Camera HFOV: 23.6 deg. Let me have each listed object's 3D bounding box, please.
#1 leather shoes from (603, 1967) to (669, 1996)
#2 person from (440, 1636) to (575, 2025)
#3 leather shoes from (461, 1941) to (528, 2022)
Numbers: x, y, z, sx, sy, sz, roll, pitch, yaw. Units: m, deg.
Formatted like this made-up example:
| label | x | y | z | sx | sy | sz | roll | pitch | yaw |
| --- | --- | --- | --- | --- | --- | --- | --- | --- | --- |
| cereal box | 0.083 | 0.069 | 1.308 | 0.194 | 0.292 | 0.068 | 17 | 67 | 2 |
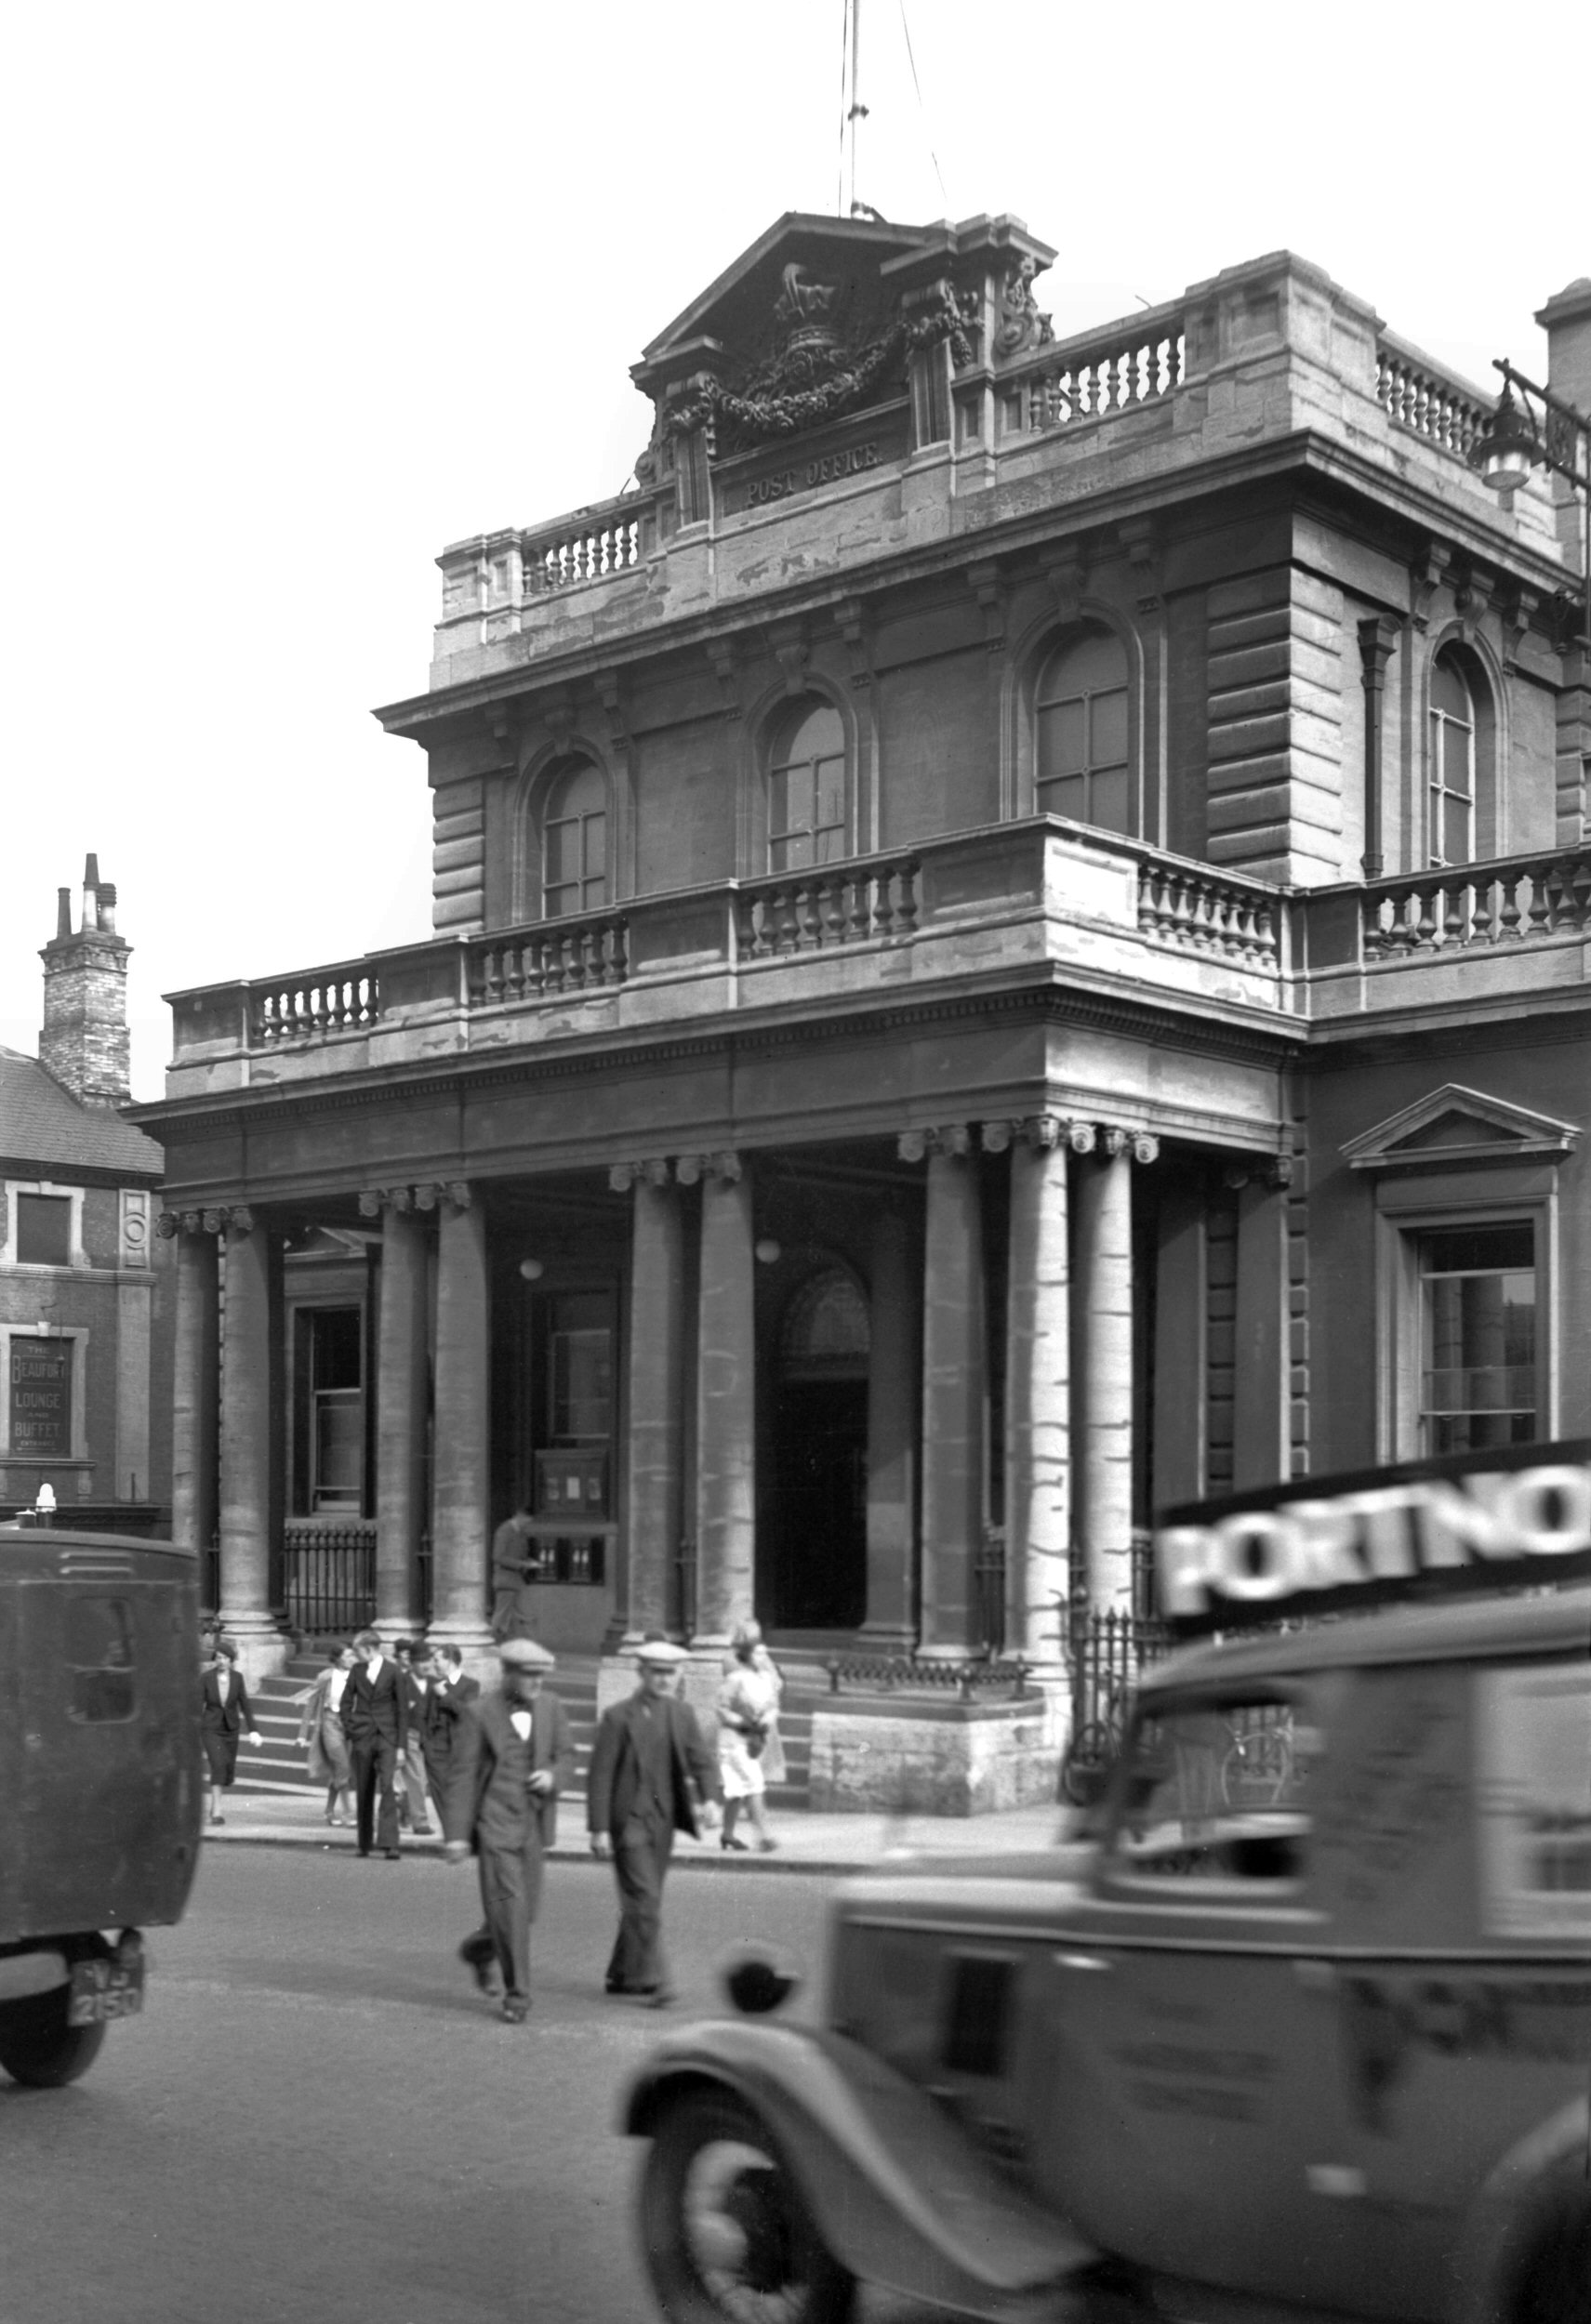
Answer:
| label | x | y | z | sx | sy | sz | roll | pitch | yaw |
| --- | --- | --- | --- | --- | --- | --- | --- | --- | --- |
| leather shoes | -0.680 | 3.549 | 16.427 | 0.252 | 0.140 | 0.108 | -1 | 2 | 20 |
| person | -1.256 | 2.865 | 16.550 | 0.488 | 1.595 | 1.580 | 1 | -7 | -4 |
| leather shoes | -1.243 | 3.518 | 16.193 | 0.185 | 0.278 | 0.552 | 1 | 2 | -38 |
